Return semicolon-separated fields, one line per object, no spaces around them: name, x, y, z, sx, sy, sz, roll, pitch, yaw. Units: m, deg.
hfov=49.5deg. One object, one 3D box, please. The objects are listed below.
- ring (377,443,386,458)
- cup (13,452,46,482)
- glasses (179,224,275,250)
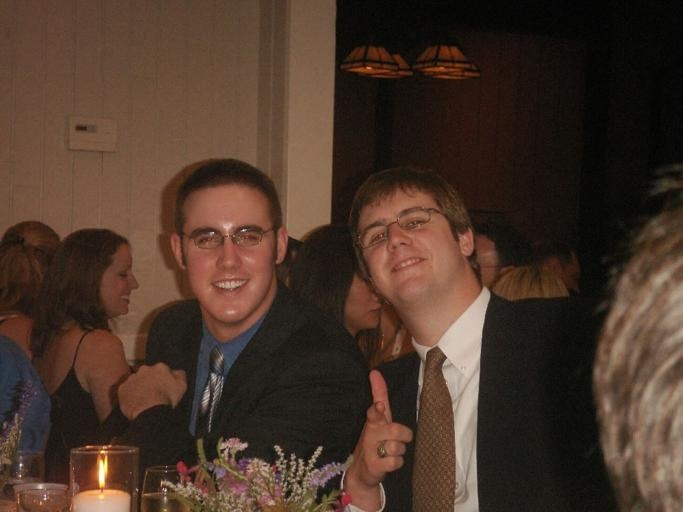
ring;0.117;0.558;2.112;0.025;0.035;0.029;8;-4;-37
cup;-0.922;0.625;2.182;0.072;0.060;0.078;1;-13;0
glasses;-0.363;-0.057;2.397;0.284;0.074;0.067;0;-6;-6
